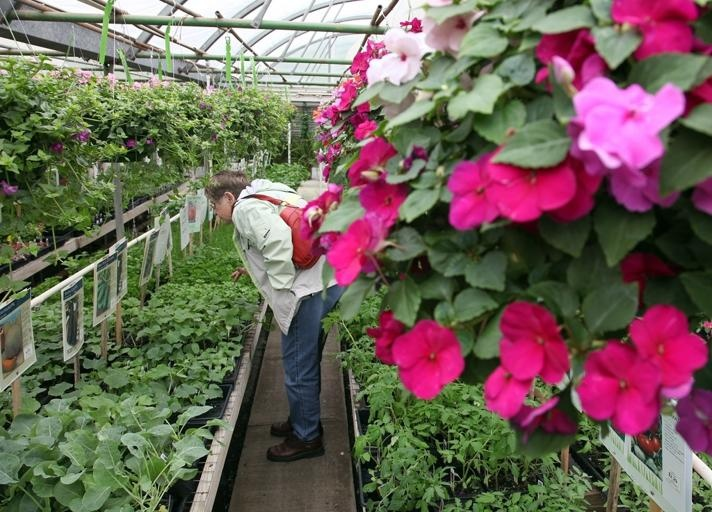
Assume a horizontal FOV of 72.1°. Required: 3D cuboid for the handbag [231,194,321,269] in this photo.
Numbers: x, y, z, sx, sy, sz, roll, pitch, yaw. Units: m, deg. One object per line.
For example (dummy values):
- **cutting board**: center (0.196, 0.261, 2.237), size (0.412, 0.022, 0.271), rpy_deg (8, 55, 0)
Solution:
- **handbag**: center (-0.393, -0.172, 3.057), size (0.300, 0.450, 0.482), rpy_deg (-4, 10, 37)
